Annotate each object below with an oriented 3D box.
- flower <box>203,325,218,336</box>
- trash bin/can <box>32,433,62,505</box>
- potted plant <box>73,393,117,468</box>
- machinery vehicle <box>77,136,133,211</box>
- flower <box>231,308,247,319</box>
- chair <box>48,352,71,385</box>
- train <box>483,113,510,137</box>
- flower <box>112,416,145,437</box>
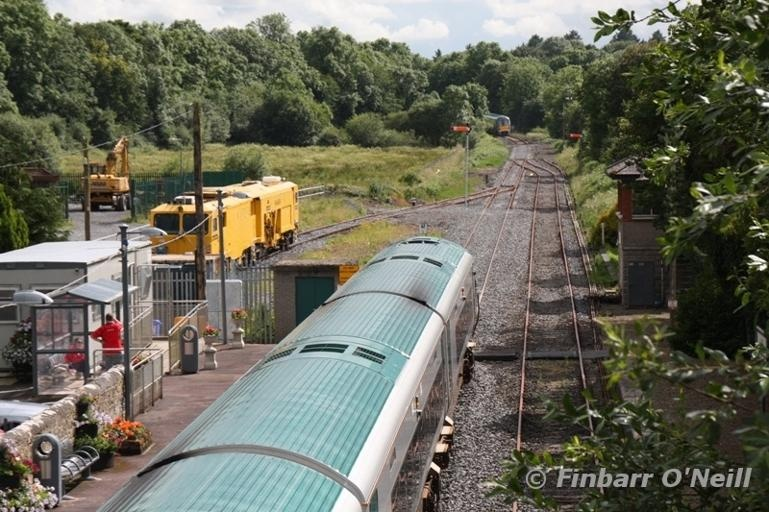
[{"bbox_3d":[-5.077,2.255,23.811,0.338,0.287,0.352,-2,8,-16],"label":"flower"},{"bbox_3d":[-6.237,3.977,15.376,0.469,1.259,0.667,1,-1,2],"label":"trash bin/can"},{"bbox_3d":[-6.012,3.599,16.967,0.697,1.581,0.702,0,-1,-3],"label":"potted plant"},{"bbox_3d":[-19.530,-5.872,58.107,2.470,5.557,7.059,2,2,-7],"label":"machinery vehicle"},{"bbox_3d":[-4.473,1.811,25.207,0.308,0.260,0.338,0,2,12],"label":"flower"},{"bbox_3d":[-8.002,2.786,20.027,0.245,0.513,0.748,-2,11,8],"label":"chair"},{"bbox_3d":[17.504,-19.939,125.821,2.819,3.162,4.231,-5,13,-30],"label":"train"},{"bbox_3d":[-5.548,3.710,17.636,0.380,0.272,0.446,3,5,-11],"label":"flower"}]
